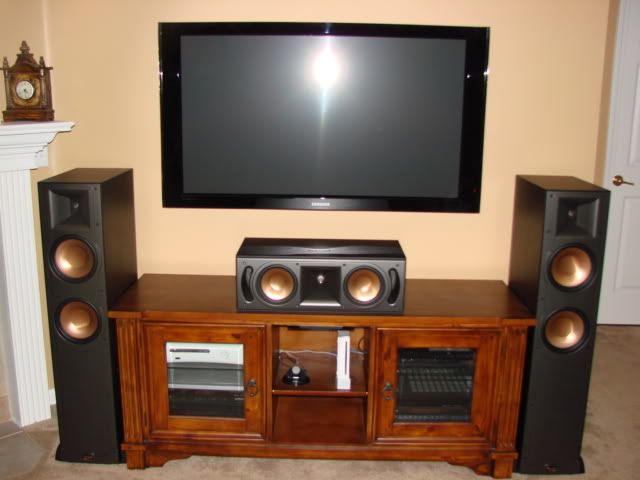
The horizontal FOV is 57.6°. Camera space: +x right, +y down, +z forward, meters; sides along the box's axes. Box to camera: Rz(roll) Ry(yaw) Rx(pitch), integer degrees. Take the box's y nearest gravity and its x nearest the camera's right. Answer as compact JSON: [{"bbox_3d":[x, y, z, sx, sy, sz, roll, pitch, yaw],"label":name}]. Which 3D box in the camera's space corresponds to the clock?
[{"bbox_3d":[-1.467,-0.785,2.927,0.240,0.399,0.137,2,-2,-22],"label":"clock"}]

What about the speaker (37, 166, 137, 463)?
[{"bbox_3d":[-1.130,0.364,2.848,0.322,1.480,0.467,1,-2,-2],"label":"speaker"}]

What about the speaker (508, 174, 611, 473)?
[{"bbox_3d":[1.141,0.399,2.824,0.352,1.498,0.452,1,-2,6],"label":"speaker"}]
